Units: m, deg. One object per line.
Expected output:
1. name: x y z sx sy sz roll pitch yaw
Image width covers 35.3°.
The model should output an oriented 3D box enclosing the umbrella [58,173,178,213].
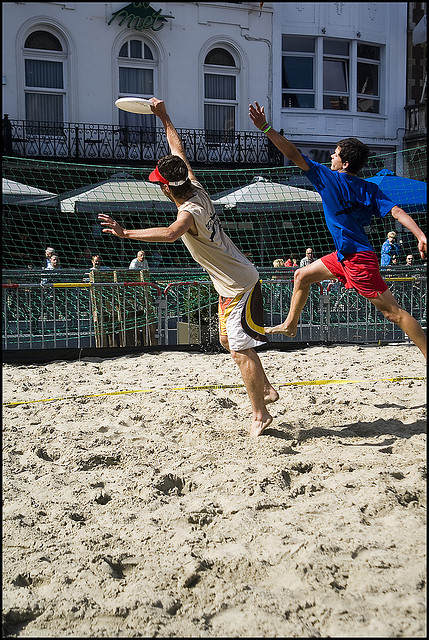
1. umbrella: -1.716 -2.407 12.615 1.747 0.718 2.445 -1 8 11

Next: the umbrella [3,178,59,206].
1. umbrella: -3.184 -2.186 11.521 0.542 0.428 1.156 2 9 34

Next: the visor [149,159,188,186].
1. visor: -0.267 -0.782 3.572 0.148 0.047 0.112 11 48 9

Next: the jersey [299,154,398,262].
1. jersey: 0.818 -0.671 4.089 0.537 0.629 0.357 -2 7 7
